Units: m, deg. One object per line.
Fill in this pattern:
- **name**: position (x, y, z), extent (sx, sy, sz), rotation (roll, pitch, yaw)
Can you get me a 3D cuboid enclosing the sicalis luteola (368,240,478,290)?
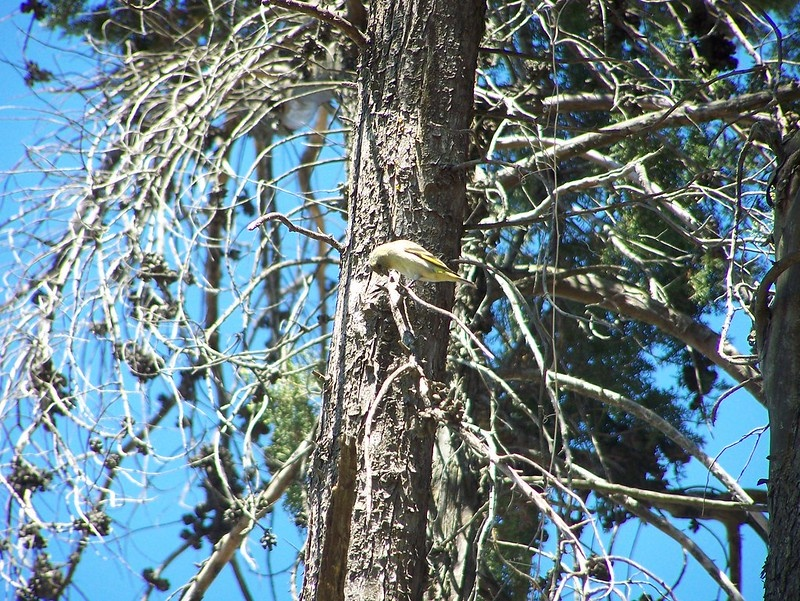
- **sicalis luteola**: position (0.117, -0.183, 9.537), extent (0.571, 0.284, 0.208), rotation (1, -26, -2)
